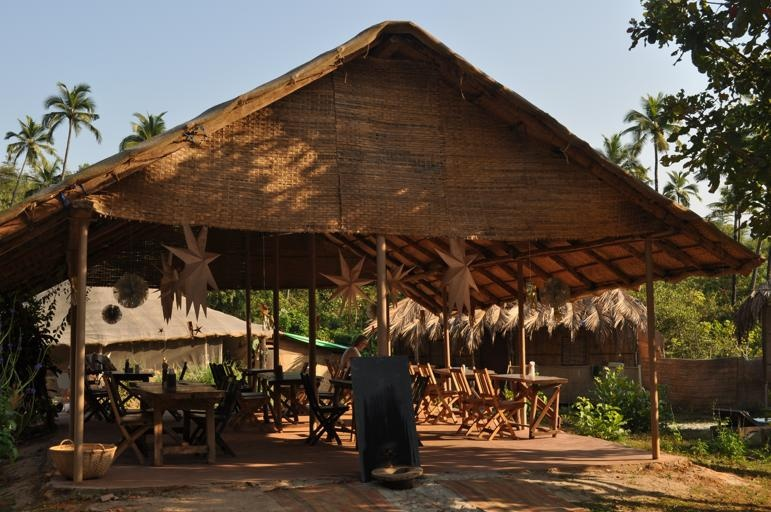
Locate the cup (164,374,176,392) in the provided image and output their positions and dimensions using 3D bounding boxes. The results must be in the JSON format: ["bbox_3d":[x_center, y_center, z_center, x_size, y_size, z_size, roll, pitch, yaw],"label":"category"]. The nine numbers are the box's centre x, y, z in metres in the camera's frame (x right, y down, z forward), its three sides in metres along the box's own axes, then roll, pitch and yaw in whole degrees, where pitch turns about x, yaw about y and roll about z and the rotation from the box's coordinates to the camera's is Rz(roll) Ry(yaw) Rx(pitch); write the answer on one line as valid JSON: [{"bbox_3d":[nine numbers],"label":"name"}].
[{"bbox_3d":[-4.112,2.474,16.605,0.182,0.363,0.601,1,-16,-15],"label":"cup"}]

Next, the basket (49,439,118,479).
[{"bbox_3d":[-5.487,3.690,15.624,0.855,0.487,0.823,-6,-9,38],"label":"basket"}]
